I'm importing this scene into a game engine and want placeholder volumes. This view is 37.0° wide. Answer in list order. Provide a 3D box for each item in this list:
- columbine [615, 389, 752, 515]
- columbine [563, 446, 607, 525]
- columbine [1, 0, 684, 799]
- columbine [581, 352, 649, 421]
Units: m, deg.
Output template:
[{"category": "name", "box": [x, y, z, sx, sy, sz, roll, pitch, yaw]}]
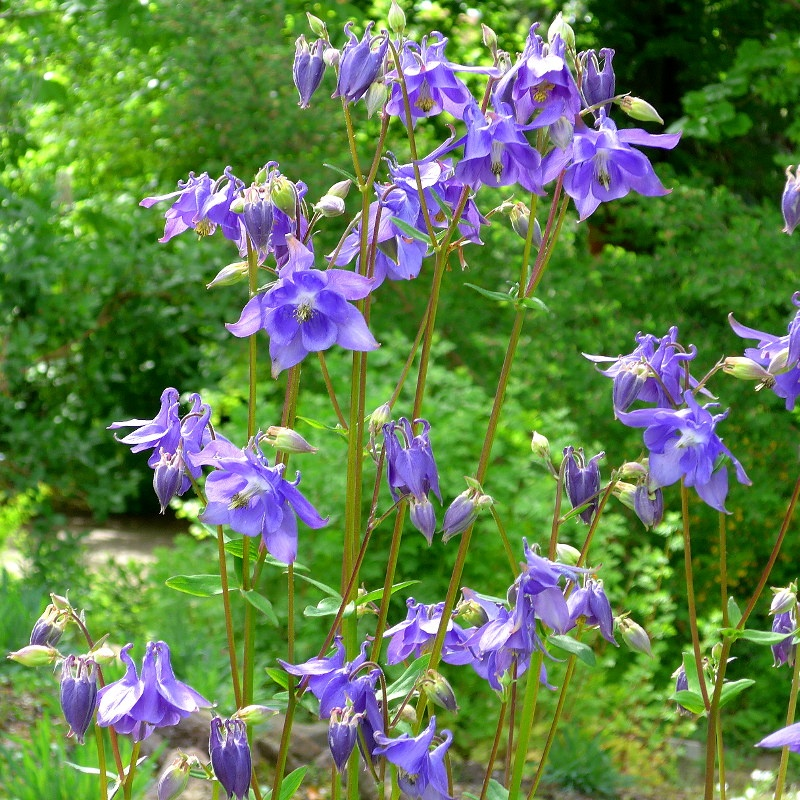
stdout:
[{"category": "columbine", "box": [0.588, 0.124, 2.451, 0.212, 0.293, 0.126, 8, 33, 39]}, {"category": "columbine", "box": [0.413, 0.187, 2.611, 0.078, 0.191, 0.107, -3, 7, -33]}, {"category": "columbine", "box": [-0.048, 0.217, 2.582, 1.186, 2.000, 0.898, 5, 20, 15]}, {"category": "columbine", "box": [0.460, -0.044, 2.567, 0.049, 0.156, 0.141, -10, 9, 19]}]
